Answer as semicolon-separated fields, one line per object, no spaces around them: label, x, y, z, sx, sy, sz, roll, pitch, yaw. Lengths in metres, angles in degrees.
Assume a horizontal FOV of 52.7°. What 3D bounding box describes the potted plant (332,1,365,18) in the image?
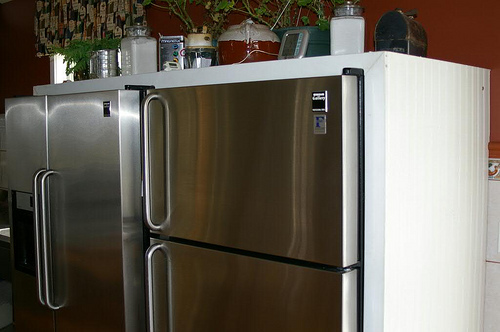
potted plant;0.466;-0.738;2.377;0.144;0.079;0.065;3;10;8

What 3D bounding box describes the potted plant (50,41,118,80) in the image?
potted plant;-1.075;-0.698;3.199;0.356;0.195;0.261;-2;2;-8

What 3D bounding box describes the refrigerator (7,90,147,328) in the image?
refrigerator;-0.966;0.308;2.746;0.970;1.434;0.296;7;11;33
